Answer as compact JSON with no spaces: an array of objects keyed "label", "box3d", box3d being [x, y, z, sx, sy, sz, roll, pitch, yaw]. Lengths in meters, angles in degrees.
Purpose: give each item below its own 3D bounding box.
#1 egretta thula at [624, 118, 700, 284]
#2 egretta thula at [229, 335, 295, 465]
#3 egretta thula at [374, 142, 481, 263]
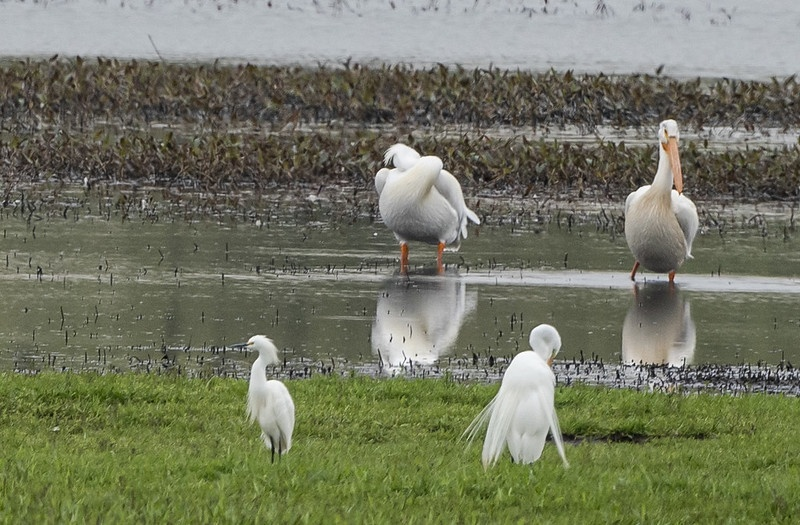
[{"label":"egretta thula","box3d":[5.228,-1.220,28.655,1.356,3.184,1.120,-1,-1,11]},{"label":"egretta thula","box3d":[-1.972,2.031,21.545,0.672,1.854,0.459,0,-1,-8]},{"label":"egretta thula","box3d":[0.466,-1.156,29.946,1.797,2.706,1.473,-1,-1,2]}]
